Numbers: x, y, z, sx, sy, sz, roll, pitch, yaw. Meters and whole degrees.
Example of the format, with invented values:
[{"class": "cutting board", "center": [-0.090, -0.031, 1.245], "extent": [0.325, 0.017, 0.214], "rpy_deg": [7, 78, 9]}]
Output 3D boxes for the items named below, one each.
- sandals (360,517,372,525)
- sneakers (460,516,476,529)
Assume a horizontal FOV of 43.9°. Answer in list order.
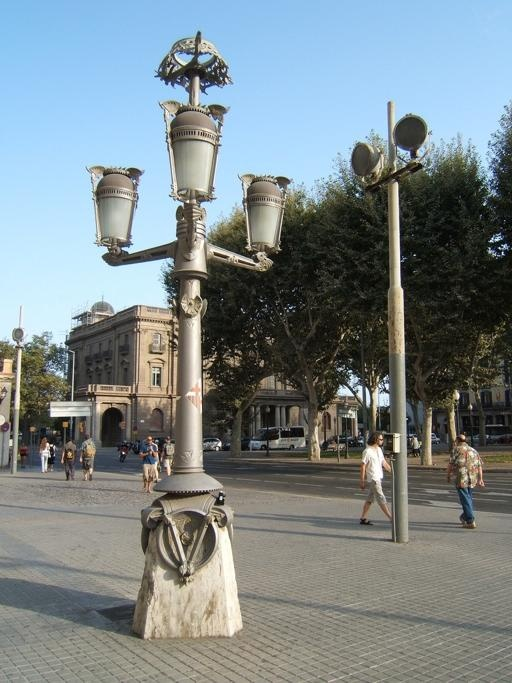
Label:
[{"class": "sandals", "center": [1.903, 3.138, 11.022], "extent": [0.253, 0.105, 0.087], "rpy_deg": [-11, -13, 43]}, {"class": "sneakers", "center": [3.545, 3.048, 10.673], "extent": [0.115, 0.132, 0.303], "rpy_deg": [1, -3, 8]}]
